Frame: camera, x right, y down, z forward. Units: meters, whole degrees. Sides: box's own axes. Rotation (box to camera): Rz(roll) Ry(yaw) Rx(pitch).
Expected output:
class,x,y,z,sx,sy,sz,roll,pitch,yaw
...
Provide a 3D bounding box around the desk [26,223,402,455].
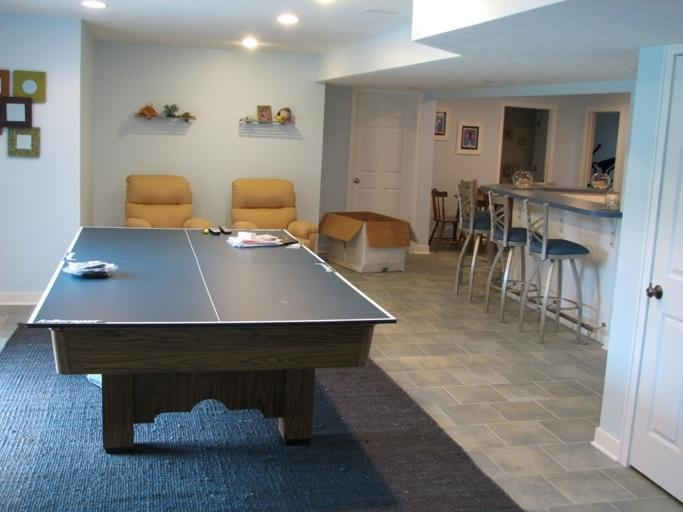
class,x,y,z,sx,sy,sz,roll,pitch,yaw
desk,-0.892,0.599,3.386,1.626,0.749,2.428,2,2,-15

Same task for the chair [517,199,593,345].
class,x,y,z,sx,sy,sz,roll,pitch,yaw
chair,2.118,0.103,5.070,0.702,1.319,1.080,3,14,3

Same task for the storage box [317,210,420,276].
class,x,y,z,sx,sy,sz,roll,pitch,yaw
storage box,0.579,-0.122,7.417,1.101,0.642,1.265,1,2,2

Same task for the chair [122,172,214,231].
class,x,y,z,sx,sy,sz,roll,pitch,yaw
chair,-2.284,-0.620,6.464,0.901,0.881,0.882,-2,12,-20

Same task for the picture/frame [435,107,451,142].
class,x,y,z,sx,sy,sz,roll,pitch,yaw
picture/frame,1.930,-2.533,9.616,0.258,0.550,0.069,-1,15,-13

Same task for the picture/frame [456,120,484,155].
class,x,y,z,sx,sy,sz,roll,pitch,yaw
picture/frame,2.482,-2.345,9.767,0.710,0.784,0.070,-1,11,-16

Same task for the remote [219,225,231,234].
class,x,y,z,sx,sy,sz,roll,pitch,yaw
remote,-1.072,-0.231,4.551,0.109,0.046,0.190,2,12,-20

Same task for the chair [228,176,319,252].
class,x,y,z,sx,sy,sz,roll,pitch,yaw
chair,-0.913,-0.409,6.570,1.045,1.059,1.029,-4,21,-30
